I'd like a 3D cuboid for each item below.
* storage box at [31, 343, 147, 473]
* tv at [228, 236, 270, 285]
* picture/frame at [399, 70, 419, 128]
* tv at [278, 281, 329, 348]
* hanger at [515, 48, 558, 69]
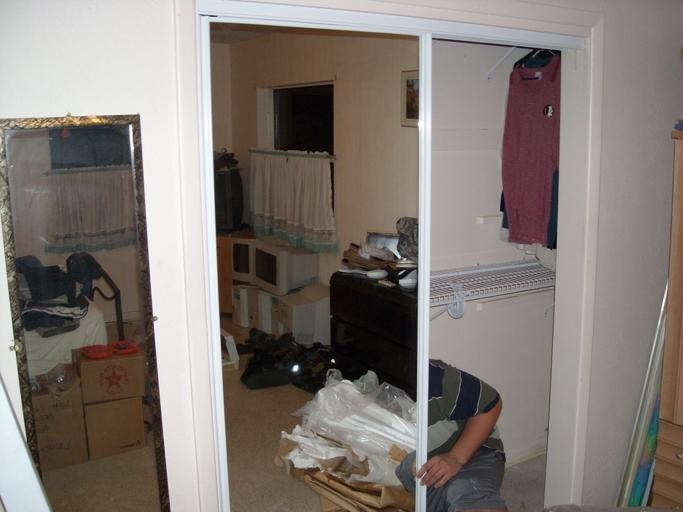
[{"bbox_3d":[-0.754,0.432,1.616,0.341,0.335,0.121,-8,7,-31],"label":"storage box"},{"bbox_3d":[-0.428,0.025,2.556,0.197,0.200,0.111,2,0,7],"label":"tv"},{"bbox_3d":[0.255,-0.587,2.059,0.009,0.262,0.183,-6,10,-25],"label":"picture/frame"},{"bbox_3d":[-0.157,0.258,2.433,0.231,0.251,0.224,-1,2,-27],"label":"tv"},{"bbox_3d":[0.991,-0.987,2.771,0.142,0.046,0.107,-6,16,44],"label":"hanger"}]
